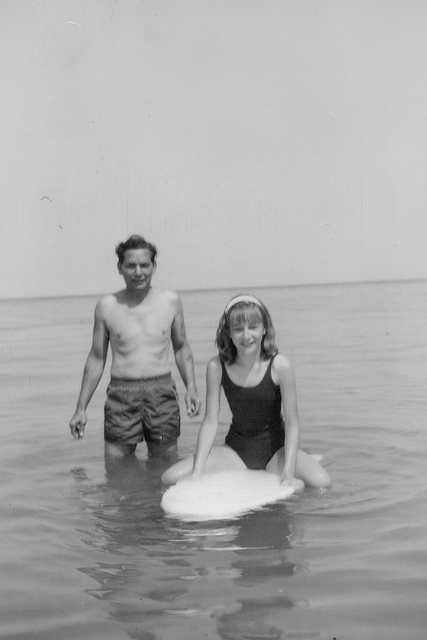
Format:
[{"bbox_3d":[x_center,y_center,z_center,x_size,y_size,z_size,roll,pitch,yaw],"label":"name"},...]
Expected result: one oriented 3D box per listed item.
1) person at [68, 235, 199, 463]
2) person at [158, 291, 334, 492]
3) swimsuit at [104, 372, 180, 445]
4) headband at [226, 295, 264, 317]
[{"bbox_3d":[-0.470,0.428,6.681,0.680,1.973,0.562,2,27,3],"label":"person"},{"bbox_3d":[0.225,0.404,6.196,0.999,1.416,0.892,0,8,15],"label":"person"},{"bbox_3d":[-0.437,0.498,6.633,0.508,0.638,0.334,-2,2,-15],"label":"swimsuit"},{"bbox_3d":[0.173,-0.085,5.868,0.203,0.109,0.169,-1,5,0],"label":"headband"}]
